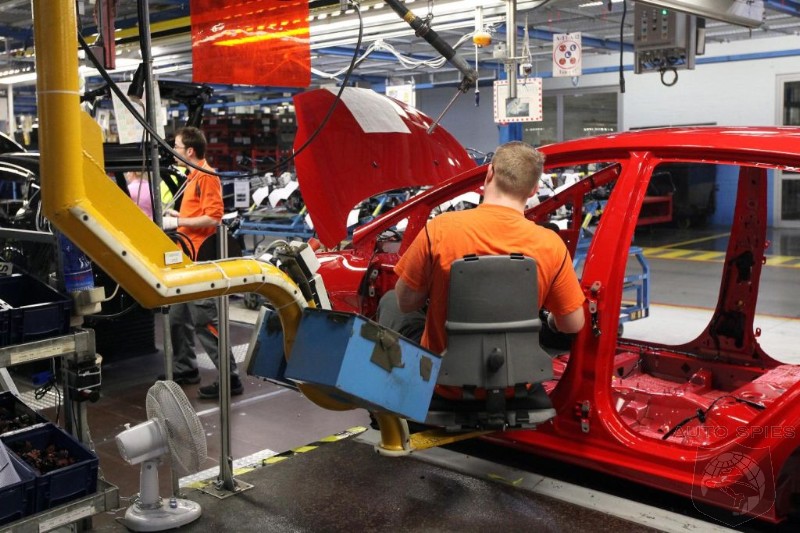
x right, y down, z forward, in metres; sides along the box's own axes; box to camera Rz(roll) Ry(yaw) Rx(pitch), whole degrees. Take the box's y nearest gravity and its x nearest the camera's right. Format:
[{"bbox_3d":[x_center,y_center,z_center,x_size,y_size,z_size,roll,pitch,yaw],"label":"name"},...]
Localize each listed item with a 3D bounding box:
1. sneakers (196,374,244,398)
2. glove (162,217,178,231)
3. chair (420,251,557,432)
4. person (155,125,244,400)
[{"bbox_3d":[-1.491,0.982,5.742,0.421,0.250,0.160,0,2,-23],"label":"sneakers"},{"bbox_3d":[-1.903,-0.353,5.701,0.112,0.120,0.294,-5,11,-17],"label":"glove"},{"bbox_3d":[0.501,0.375,3.954,0.910,0.999,0.860,0,6,0],"label":"chair"},{"bbox_3d":[-1.659,-0.055,5.748,0.594,2.210,0.908,-6,11,-23],"label":"person"}]
